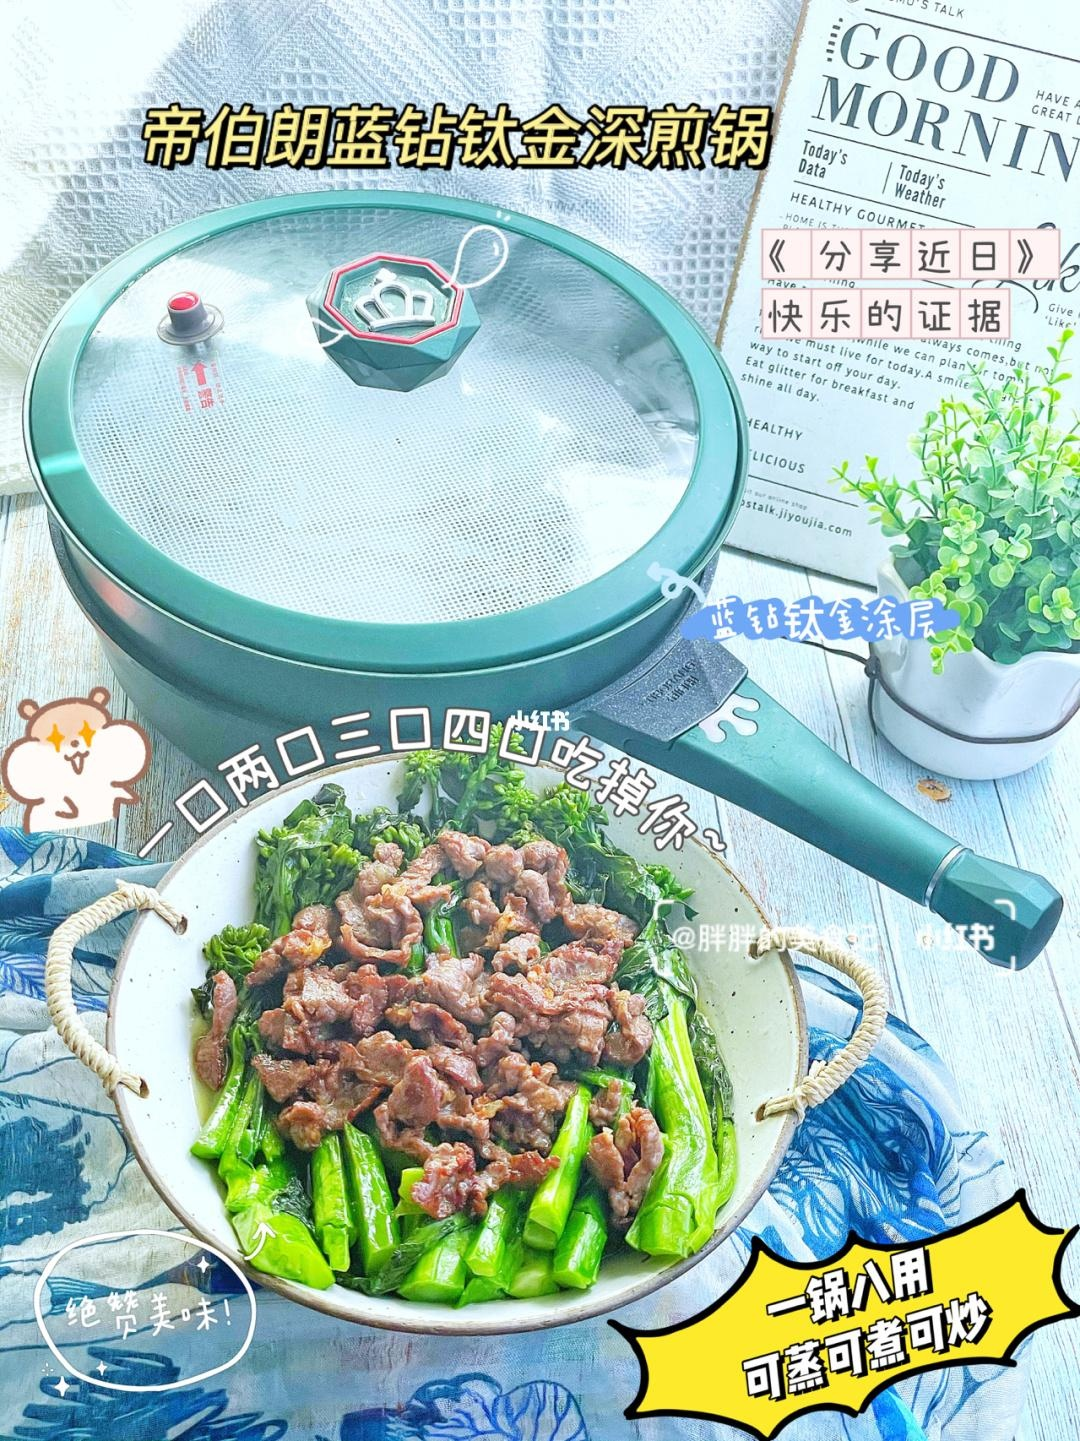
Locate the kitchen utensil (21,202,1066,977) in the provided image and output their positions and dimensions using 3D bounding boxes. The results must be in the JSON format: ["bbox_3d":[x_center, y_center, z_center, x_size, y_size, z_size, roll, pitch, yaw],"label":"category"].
[{"bbox_3d":[-0.062,0.008,1.237,1.009,0.347,0.647,35,52,17],"label":"kitchen utensil"}]
